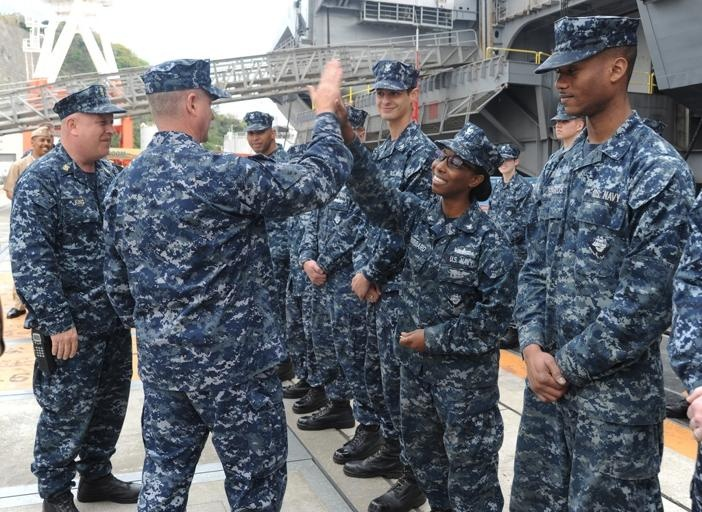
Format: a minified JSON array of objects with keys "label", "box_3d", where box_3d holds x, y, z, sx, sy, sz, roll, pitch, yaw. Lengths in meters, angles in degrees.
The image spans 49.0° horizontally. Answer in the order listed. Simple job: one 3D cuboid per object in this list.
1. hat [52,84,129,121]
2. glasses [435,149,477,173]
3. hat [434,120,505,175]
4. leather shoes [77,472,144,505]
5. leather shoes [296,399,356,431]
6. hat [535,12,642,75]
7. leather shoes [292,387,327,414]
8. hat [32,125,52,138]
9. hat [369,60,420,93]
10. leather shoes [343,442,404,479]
[{"label":"hat","box_3d":[-1.669,-0.967,4.866,0.379,0.140,0.261,-4,13,-10]},{"label":"glasses","box_3d":[0.575,-0.531,4.356,0.156,0.043,0.148,30,0,-40]},{"label":"hat","box_3d":[0.672,-0.623,4.416,0.353,0.175,0.267,31,-5,-27]},{"label":"leather shoes","box_3d":[-1.545,1.471,5.001,0.468,0.255,0.187,1,1,-16]},{"label":"leather shoes","box_3d":[-0.186,1.245,5.983,0.475,0.263,0.189,4,-4,-9]},{"label":"hat","box_3d":[1.175,-1.080,3.860,0.429,0.192,0.310,-4,9,-6]},{"label":"leather shoes","box_3d":[-0.327,1.208,6.417,0.376,0.147,0.134,-2,4,-37]},{"label":"hat","box_3d":[-3.448,-1.387,8.565,0.159,0.088,0.214,-2,7,-34]},{"label":"hat","box_3d":[0.321,-1.220,5.231,0.234,0.117,0.286,7,19,22]},{"label":"leather shoes","box_3d":[0.194,1.402,5.268,0.504,0.260,0.176,3,-3,-1]}]
